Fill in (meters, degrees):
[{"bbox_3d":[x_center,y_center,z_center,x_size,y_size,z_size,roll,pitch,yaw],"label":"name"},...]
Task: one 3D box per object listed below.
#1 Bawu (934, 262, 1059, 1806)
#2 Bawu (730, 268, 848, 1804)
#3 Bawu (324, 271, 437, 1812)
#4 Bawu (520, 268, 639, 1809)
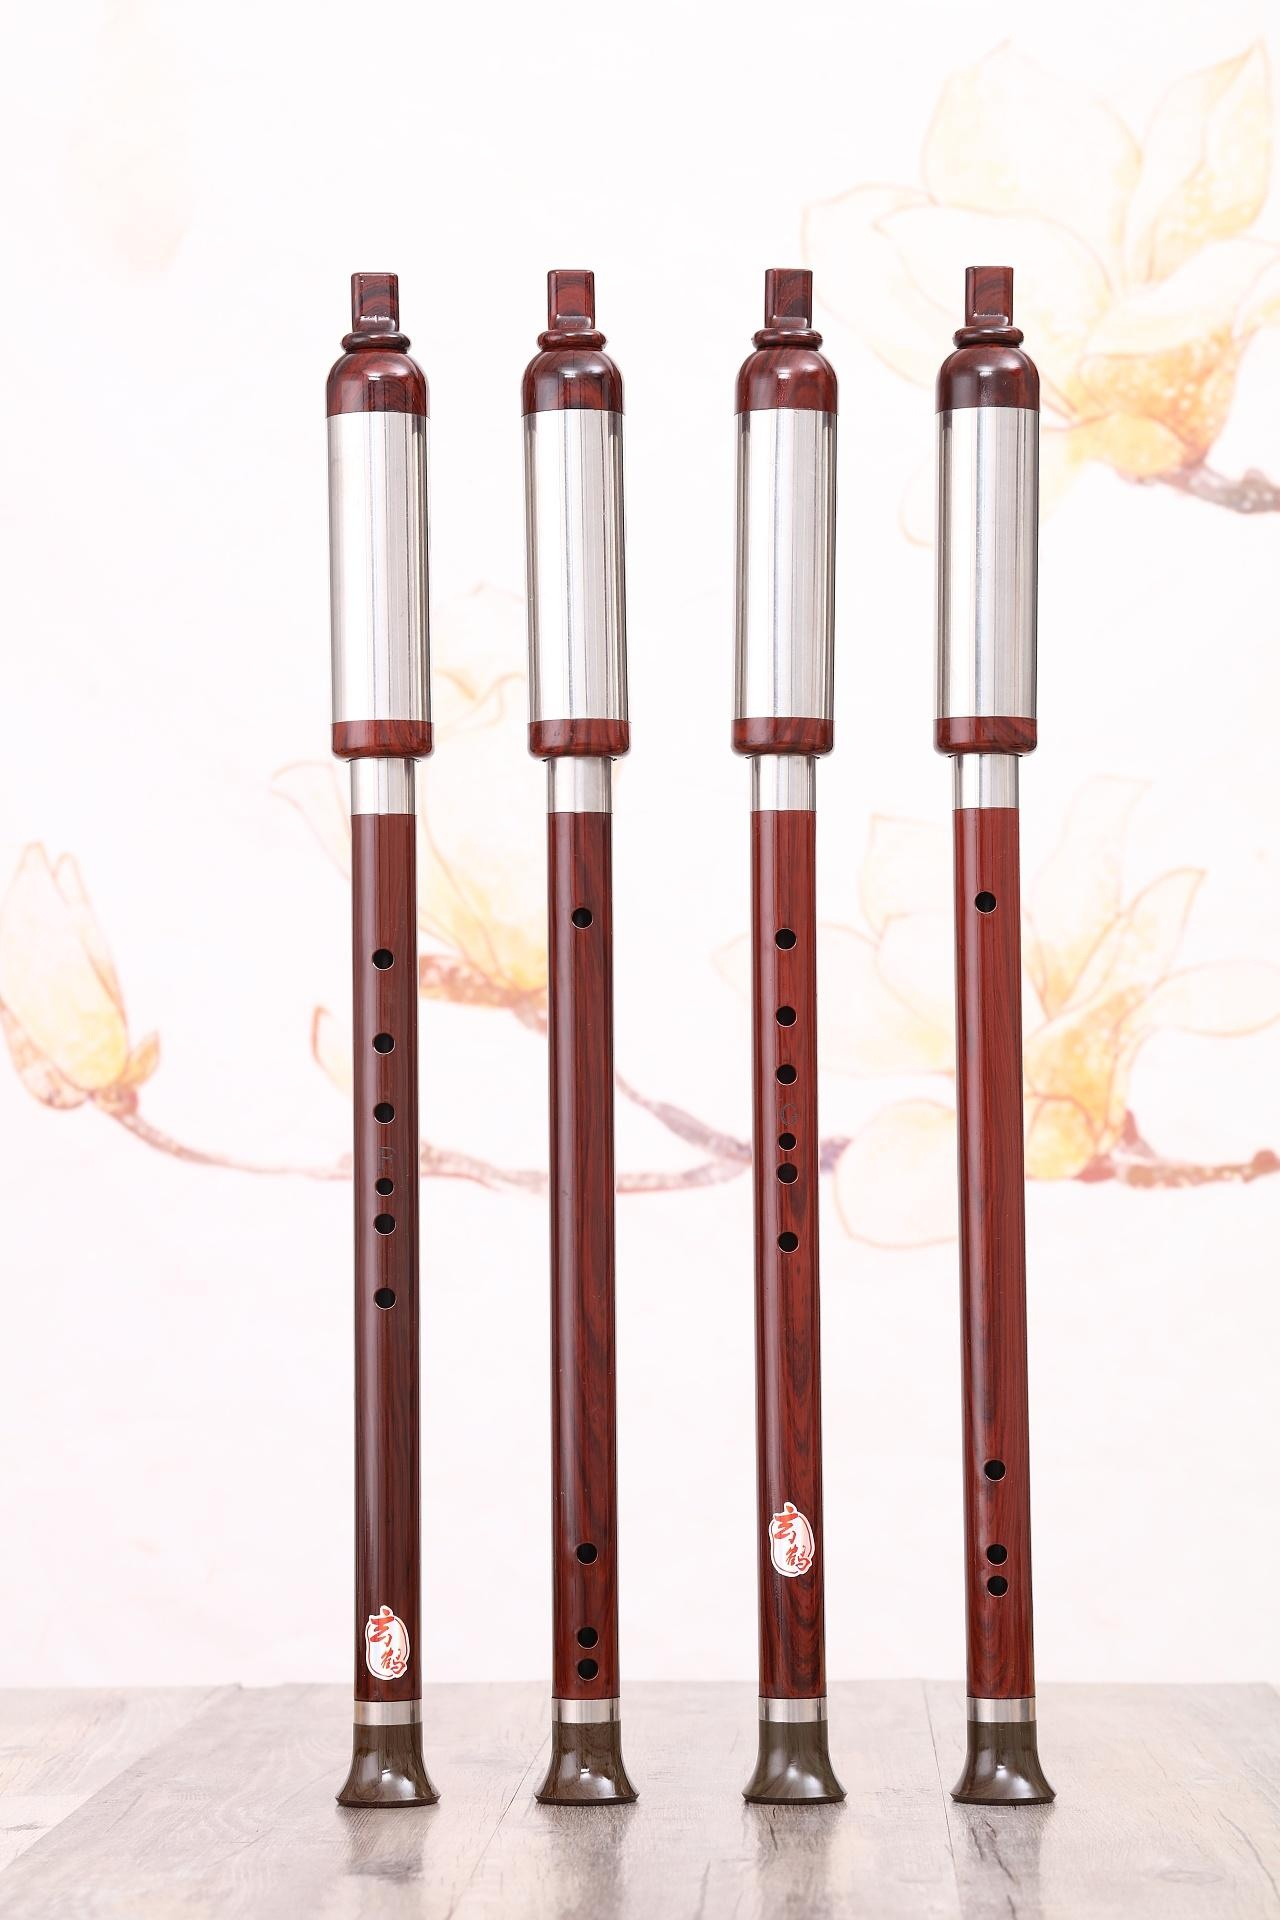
[{"bbox_3d":[0.250,0.035,1.576,0.076,1.075,0.223,0,2,7],"label":"Bawu"},{"bbox_3d":[0.103,0.039,1.562,0.073,1.073,0.176,0,2,5],"label":"Bawu"},{"bbox_3d":[-0.186,0.038,1.581,0.070,1.077,0.209,-1,2,-6],"label":"Bawu"},{"bbox_3d":[-0.045,0.039,1.563,0.071,1.072,0.183,-1,2,-2],"label":"Bawu"}]
